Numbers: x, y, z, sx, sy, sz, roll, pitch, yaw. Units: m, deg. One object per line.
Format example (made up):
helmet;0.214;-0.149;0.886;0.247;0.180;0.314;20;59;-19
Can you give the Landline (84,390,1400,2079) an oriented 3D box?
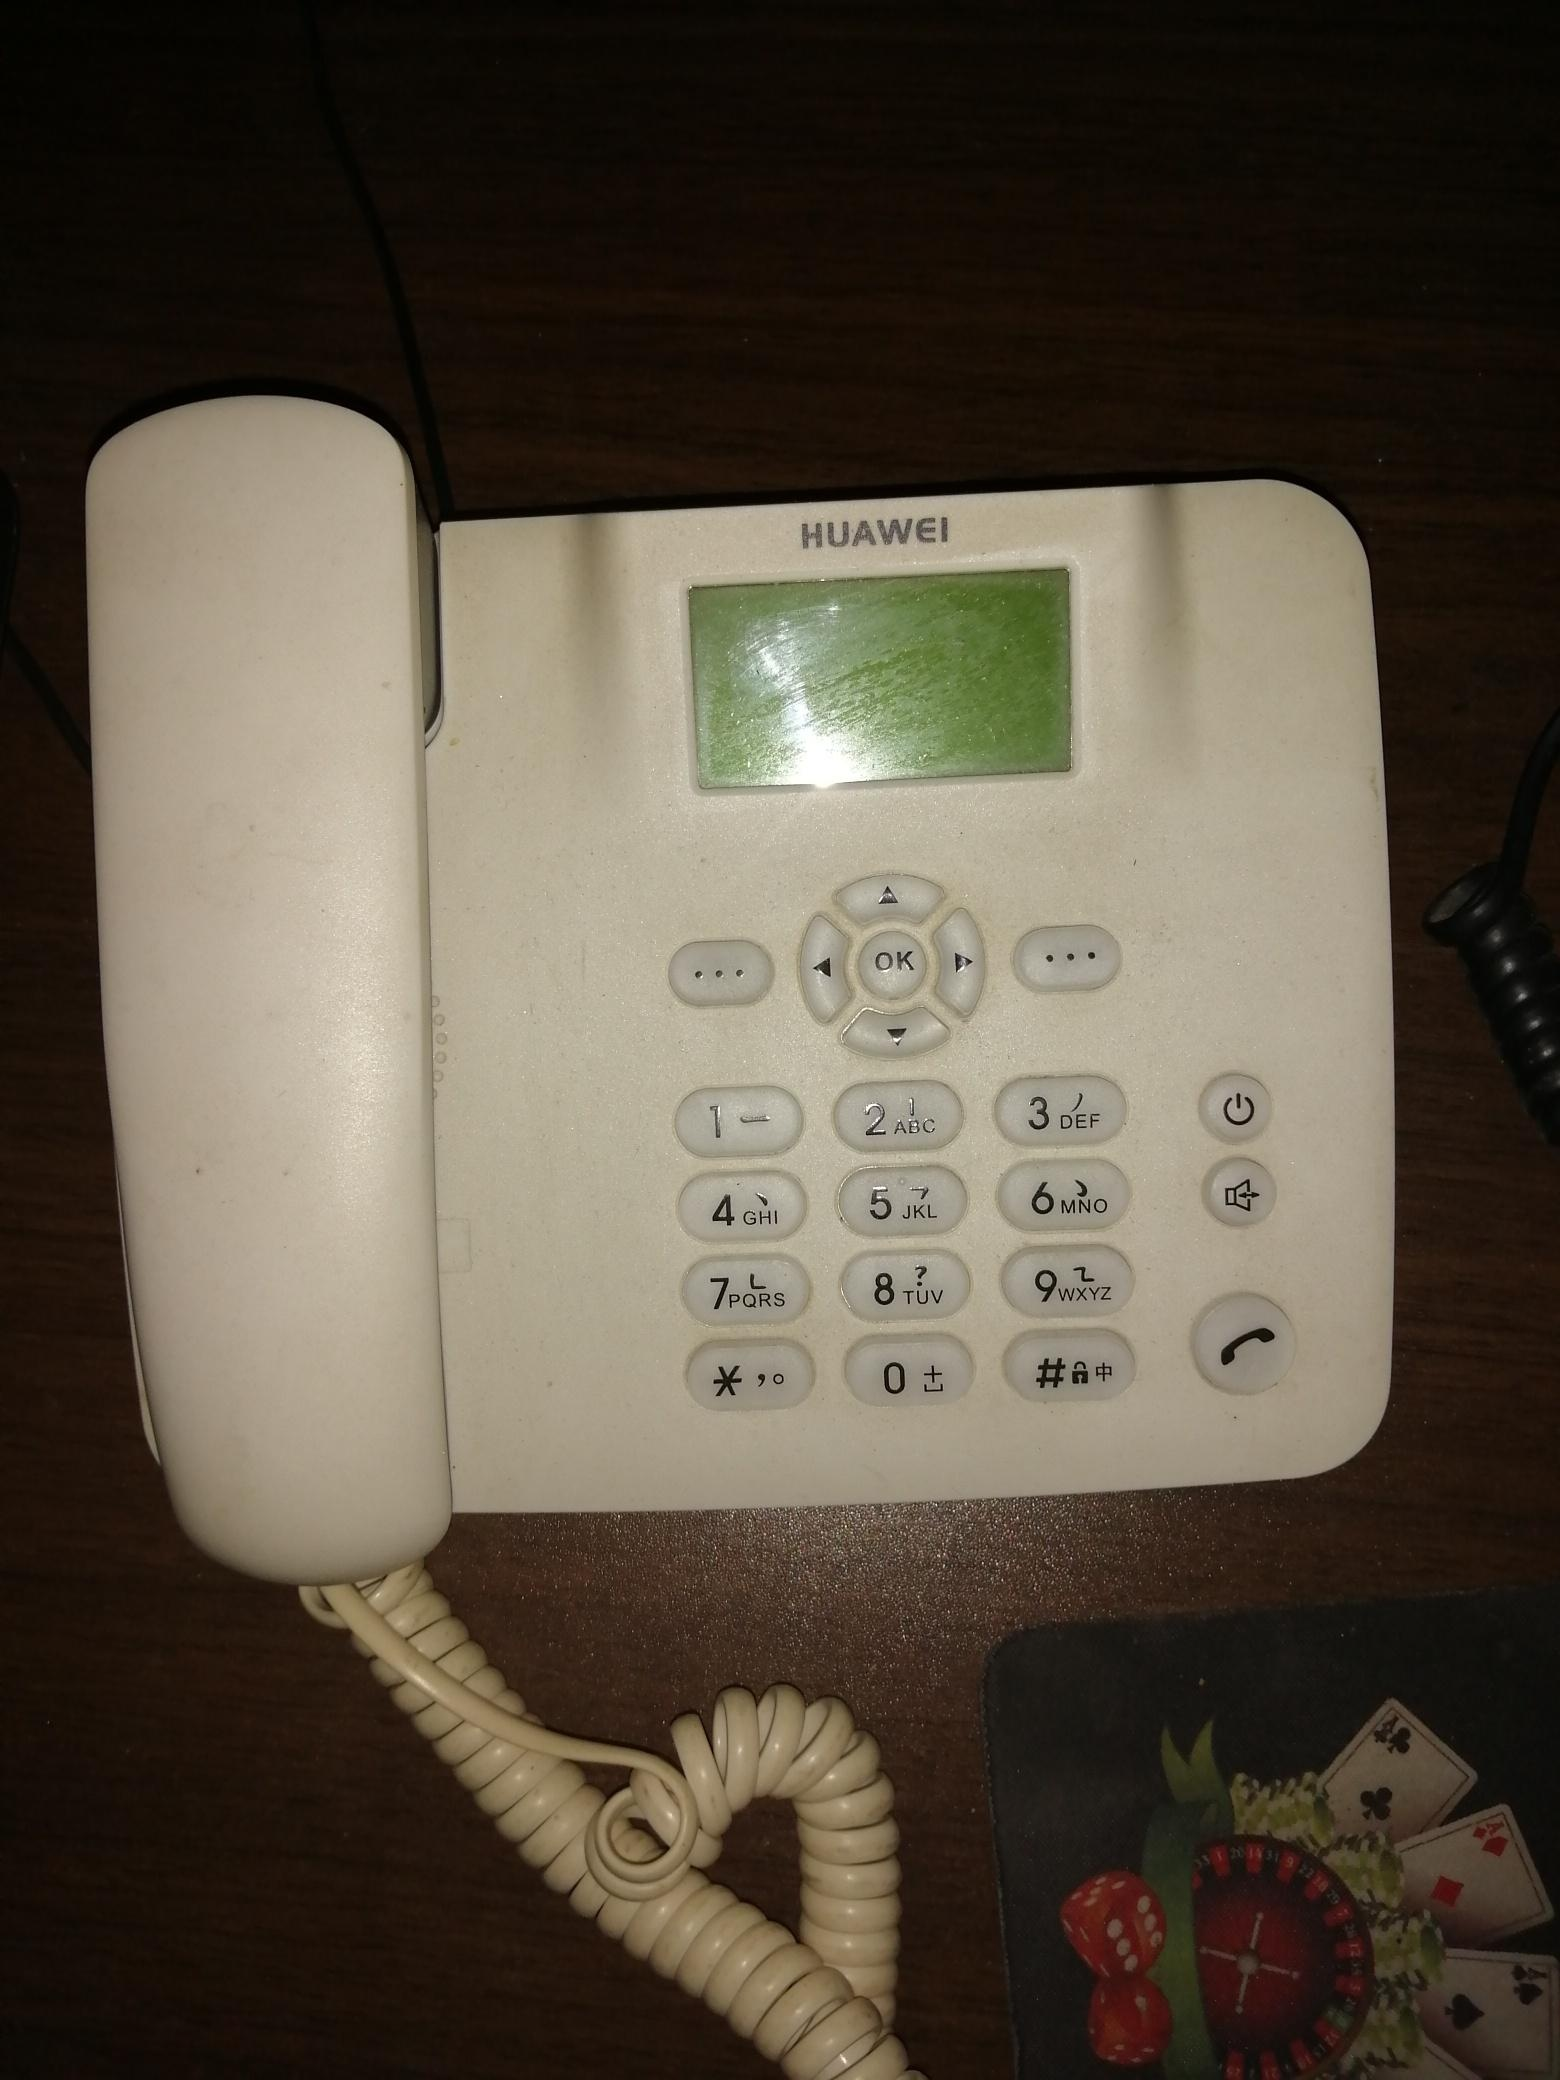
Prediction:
Landline;0.000;0.010;0.552;0.384;0.166;0.405;-3;91;-2
